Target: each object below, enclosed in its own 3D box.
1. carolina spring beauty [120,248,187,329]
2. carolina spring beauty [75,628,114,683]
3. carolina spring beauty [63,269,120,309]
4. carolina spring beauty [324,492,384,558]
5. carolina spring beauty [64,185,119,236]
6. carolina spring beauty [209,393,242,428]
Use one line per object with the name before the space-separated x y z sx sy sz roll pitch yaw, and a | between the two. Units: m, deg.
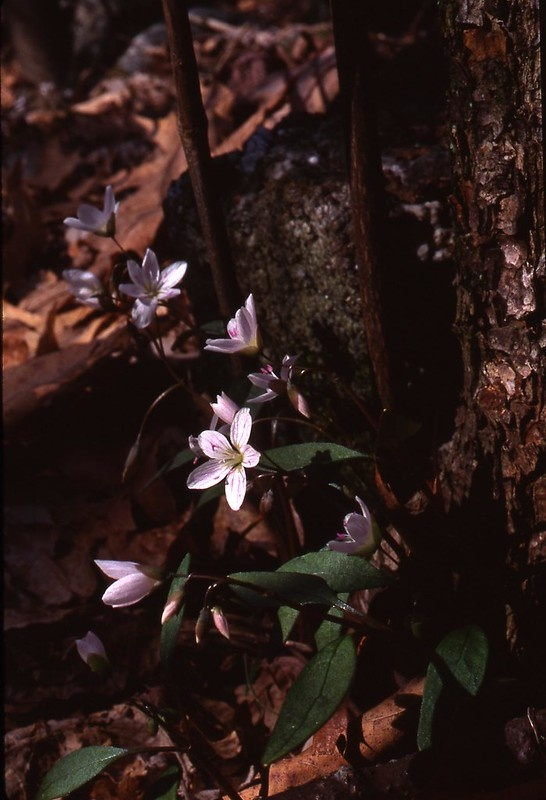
carolina spring beauty | -0.210 -0.195 1.229 0.086 0.108 0.044 -11 65 7
carolina spring beauty | -0.285 0.392 1.154 0.033 0.079 0.071 -32 27 -21
carolina spring beauty | -0.317 -0.192 1.268 0.052 0.082 0.098 -28 25 -15
carolina spring beauty | 0.126 0.188 1.091 0.060 0.081 0.094 21 -5 8
carolina spring beauty | -0.305 -0.323 1.281 0.083 0.085 0.171 -21 24 -1
carolina spring beauty | -0.078 0.014 1.163 0.039 0.056 0.018 -17 21 13
